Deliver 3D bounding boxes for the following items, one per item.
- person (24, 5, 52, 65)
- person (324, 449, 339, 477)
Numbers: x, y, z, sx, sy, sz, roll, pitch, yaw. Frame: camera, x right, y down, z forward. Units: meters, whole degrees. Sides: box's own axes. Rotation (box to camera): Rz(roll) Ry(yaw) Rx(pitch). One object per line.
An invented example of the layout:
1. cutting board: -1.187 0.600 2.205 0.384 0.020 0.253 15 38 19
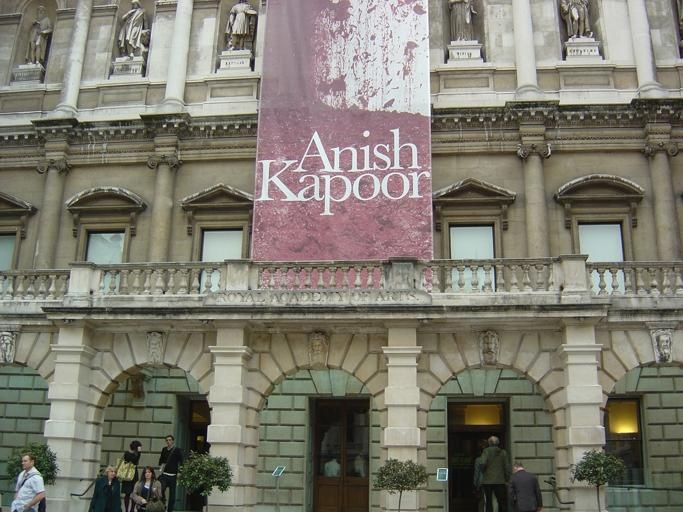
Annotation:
1. person: -13.048 -9.224 32.271 0.928 2.396 0.526 4 -21 -9
2. person: -0.359 7.647 27.425 0.673 1.224 0.385 -10 -19 31
